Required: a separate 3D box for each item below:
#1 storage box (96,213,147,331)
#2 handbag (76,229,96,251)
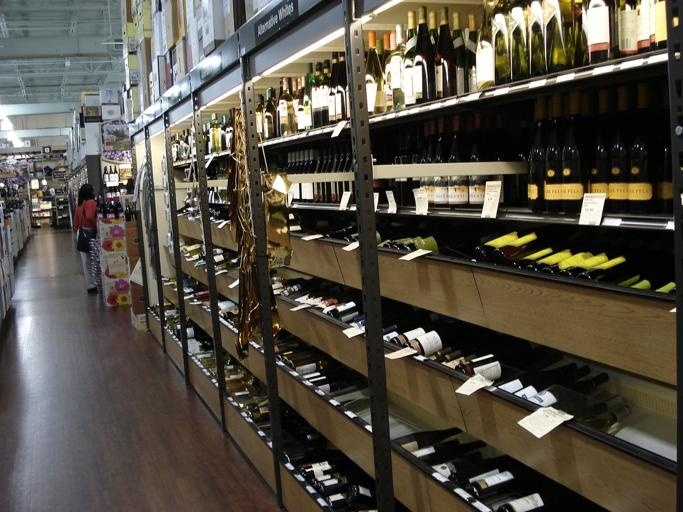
[{"bbox_3d":[-3.550,0.261,7.918,0.730,1.720,1.593,-1,1,-29],"label":"storage box"},{"bbox_3d":[-4.862,-0.297,9.340,0.267,0.452,0.246,8,15,1],"label":"handbag"}]
